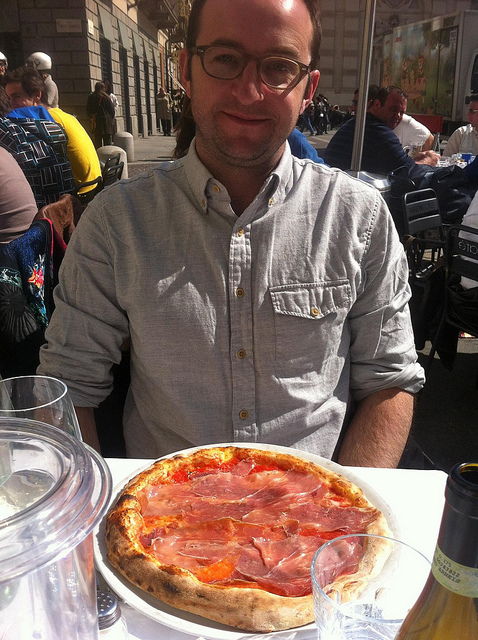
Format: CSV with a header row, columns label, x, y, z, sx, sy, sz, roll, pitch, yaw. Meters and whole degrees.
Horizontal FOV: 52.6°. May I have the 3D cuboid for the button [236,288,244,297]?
label,x,y,z,sx,sy,sz,roll,pitch,yaw
button,0.002,-0.085,1.532,0.027,0.026,0.006,-2,-7,-7

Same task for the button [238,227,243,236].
label,x,y,z,sx,sy,sz,roll,pitch,yaw
button,0.005,-0.283,1.562,0.018,0.019,0.008,2,-3,-2

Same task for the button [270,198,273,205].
label,x,y,z,sx,sy,sz,roll,pitch,yaw
button,0.108,-0.388,1.598,0.010,0.016,0.003,-10,14,-37

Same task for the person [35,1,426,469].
label,x,y,z,sx,sy,sz,roll,pitch,yaw
person,0.010,-0.273,1.614,1.297,1.515,0.443,-1,11,1

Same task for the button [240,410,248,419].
label,x,y,z,sx,sy,sz,roll,pitch,yaw
button,0.015,0.294,1.512,0.024,0.029,0.003,-1,11,0

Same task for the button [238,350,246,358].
label,x,y,z,sx,sy,sz,roll,pitch,yaw
button,0.008,0.106,1.507,0.025,0.024,0.006,-1,-3,-6

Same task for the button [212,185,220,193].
label,x,y,z,sx,sy,sz,roll,pitch,yaw
button,-0.076,-0.429,1.596,0.024,0.024,0.006,0,8,36

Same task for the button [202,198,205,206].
label,x,y,z,sx,sy,sz,roll,pitch,yaw
button,-0.119,-0.385,1.595,0.010,0.020,0.003,4,13,25

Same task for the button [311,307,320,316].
label,x,y,z,sx,sy,sz,roll,pitch,yaw
button,0.249,-0.027,1.580,0.033,0.026,0.010,-10,15,-39
